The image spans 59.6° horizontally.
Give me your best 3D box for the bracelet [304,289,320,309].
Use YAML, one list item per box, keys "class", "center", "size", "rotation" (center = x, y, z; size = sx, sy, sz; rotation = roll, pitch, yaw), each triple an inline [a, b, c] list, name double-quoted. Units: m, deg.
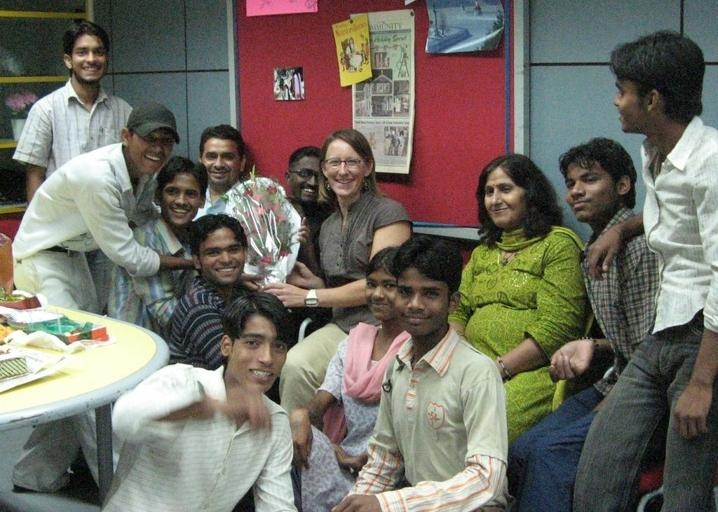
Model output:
- class: "bracelet"
  center: [-0.240, 0.221, 3.217]
  size: [0.061, 0.084, 0.085]
  rotation: [-2, 16, -4]
